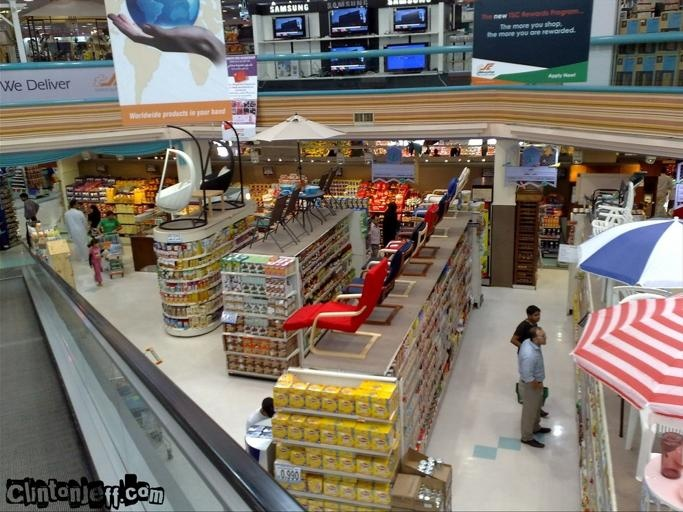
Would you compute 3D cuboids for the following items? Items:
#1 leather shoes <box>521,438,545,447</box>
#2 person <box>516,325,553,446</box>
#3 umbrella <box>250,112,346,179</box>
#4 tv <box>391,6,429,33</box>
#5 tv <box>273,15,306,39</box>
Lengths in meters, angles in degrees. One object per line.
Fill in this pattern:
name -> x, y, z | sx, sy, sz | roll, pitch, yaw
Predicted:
leather shoes -> 2.679, 2.588, 6.563 | 0.314, 0.117, 0.100 | -1, 13, 26
person -> 2.670, 1.782, 6.443 | 0.709, 1.702, 0.335 | -4, 9, -42
umbrella -> -0.920, -2.629, 9.705 | 2.047, 1.252, 1.861 | -10, 26, -8
tv -> 2.211, -7.368, 14.628 | 1.178, 0.721, 0.120 | 4, 20, 18
tv -> -1.753, -7.856, 16.119 | 1.077, 0.633, 0.283 | 1, 17, 3
